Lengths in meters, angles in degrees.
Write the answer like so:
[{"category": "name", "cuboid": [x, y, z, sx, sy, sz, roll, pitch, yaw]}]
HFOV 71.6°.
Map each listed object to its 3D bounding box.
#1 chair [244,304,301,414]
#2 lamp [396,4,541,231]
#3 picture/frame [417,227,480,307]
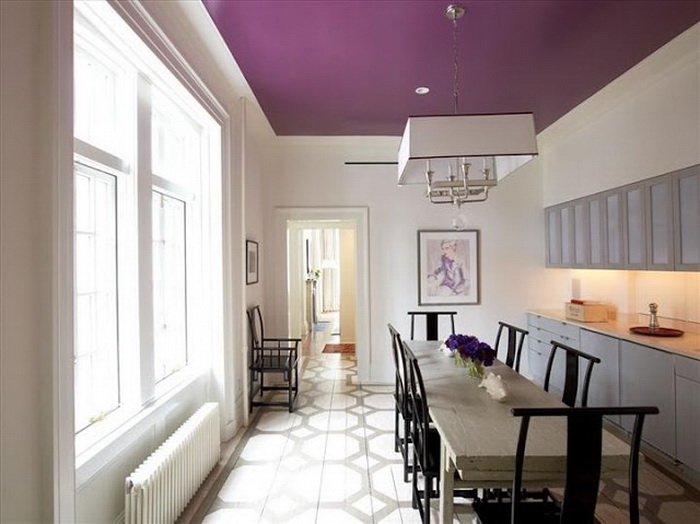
[{"category": "chair", "cuboid": [-0.873, 1.042, 5.523, 0.555, 1.183, 1.190, -2, 9, -7]}, {"category": "lamp", "cuboid": [0.846, -1.061, 3.905, 1.162, 2.049, 1.308, 0, -5, -1]}, {"category": "picture/frame", "cuboid": [1.193, 0.063, 6.064, 0.831, 1.178, 0.042, -1, 2, -1]}]
